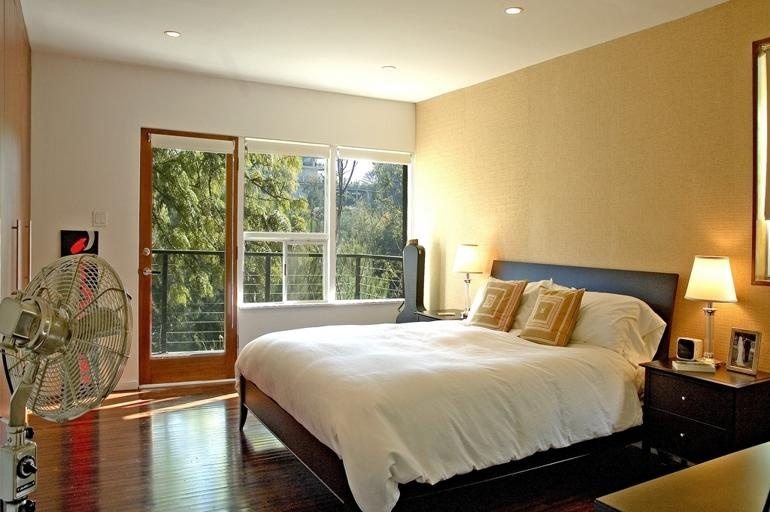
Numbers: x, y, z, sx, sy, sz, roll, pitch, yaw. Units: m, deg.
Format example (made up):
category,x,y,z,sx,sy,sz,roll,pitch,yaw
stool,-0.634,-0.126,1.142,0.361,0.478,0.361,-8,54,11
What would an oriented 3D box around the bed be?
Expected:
category,x,y,z,sx,sy,sz,roll,pitch,yaw
bed,0.626,0.838,4.527,3.091,1.431,2.225,-4,9,-30
